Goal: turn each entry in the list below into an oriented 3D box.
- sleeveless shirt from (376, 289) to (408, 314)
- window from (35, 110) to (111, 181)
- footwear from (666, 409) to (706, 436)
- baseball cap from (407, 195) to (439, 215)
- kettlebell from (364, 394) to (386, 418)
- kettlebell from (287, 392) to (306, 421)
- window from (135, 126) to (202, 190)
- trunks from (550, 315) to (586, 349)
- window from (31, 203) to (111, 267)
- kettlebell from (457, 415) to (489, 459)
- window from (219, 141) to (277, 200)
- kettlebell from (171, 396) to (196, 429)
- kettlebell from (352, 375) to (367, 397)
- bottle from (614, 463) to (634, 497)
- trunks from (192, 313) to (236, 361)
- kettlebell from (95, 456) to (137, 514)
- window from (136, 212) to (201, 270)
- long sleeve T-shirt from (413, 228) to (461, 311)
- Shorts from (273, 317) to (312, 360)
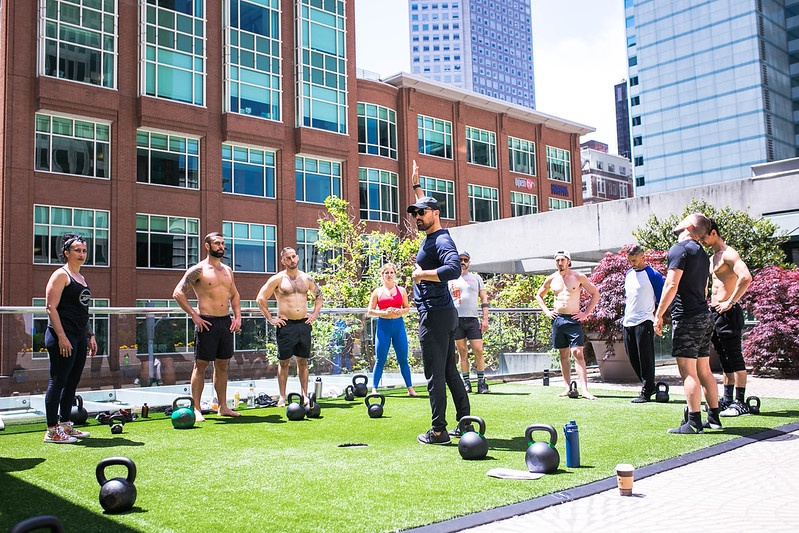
[{"bbox_3d":[-0.151,0.666,15.502,0.645,0.738,0.421,0,-34,-3],"label":"sleeveless shirt"},{"bbox_3d":[-14.036,-5.132,32.955,3.582,2.346,0.074,3,-6,-39],"label":"window"},{"bbox_3d":[4.466,2.461,12.186,0.543,0.348,0.310,-6,-9,17],"label":"footwear"},{"bbox_3d":[0.364,-0.907,11.653,0.446,0.201,0.260,13,-5,-9],"label":"baseball cap"},{"bbox_3d":[-0.435,2.465,13.733,0.522,0.529,0.355,1,-14,-7],"label":"kettlebell"},{"bbox_3d":[-1.916,2.493,13.714,0.438,0.512,0.389,-4,-10,19],"label":"kettlebell"},{"bbox_3d":[-10.765,-4.960,35.598,3.471,2.213,0.146,3,-4,-43],"label":"window"},{"bbox_3d":[3.391,1.287,15.429,0.474,0.654,0.747,0,2,-42],"label":"trunks"},{"bbox_3d":[-12.460,-1.209,29.013,0.100,1.975,2.963,-9,-10,44],"label":"window"},{"bbox_3d":[1.033,2.485,11.187,0.415,0.588,0.485,-5,-8,3],"label":"kettlebell"},{"bbox_3d":[-7.625,-4.729,38.238,3.441,2.176,0.085,1,-1,-40],"label":"window"},{"bbox_3d":[-3.711,2.535,13.328,0.534,0.617,0.447,1,0,-11],"label":"kettlebell"},{"bbox_3d":[-0.834,2.488,15.992,0.440,0.486,0.341,5,-11,-34],"label":"kettlebell"},{"bbox_3d":[2.875,2.737,9.899,0.373,0.411,0.368,-7,-9,20],"label":"bottle"},{"bbox_3d":[-3.386,1.317,14.036,0.526,0.784,0.900,-5,-5,42],"label":"trunks"},{"bbox_3d":[-3.568,2.760,9.776,0.474,0.677,0.319,-1,-9,-18],"label":"kettlebell"},{"bbox_3d":[-10.683,-0.871,35.169,0.229,2.601,3.838,18,9,27],"label":"window"},{"bbox_3d":[0.537,0.044,11.662,0.702,1.246,0.664,-5,-9,2],"label":"long sleeve T-shirt"},{"bbox_3d":[-1.998,1.336,14.489,0.883,0.744,0.515,2,-8,-33],"label":"Shorts"}]
